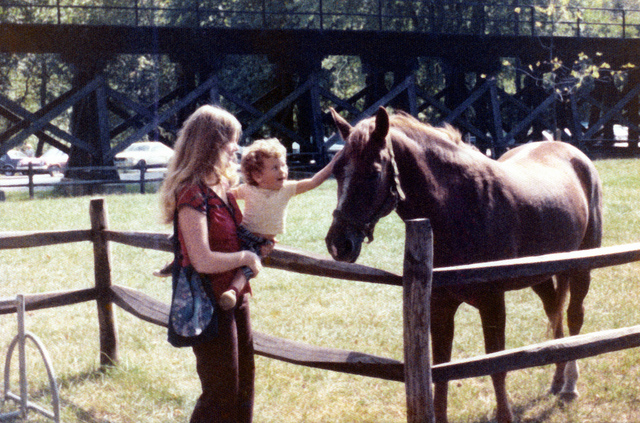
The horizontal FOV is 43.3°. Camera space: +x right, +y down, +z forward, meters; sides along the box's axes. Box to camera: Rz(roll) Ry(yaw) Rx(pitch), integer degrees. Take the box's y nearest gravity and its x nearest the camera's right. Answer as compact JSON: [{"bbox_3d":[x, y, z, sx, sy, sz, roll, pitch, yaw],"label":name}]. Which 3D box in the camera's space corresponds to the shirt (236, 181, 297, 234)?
[{"bbox_3d":[-1.046,0.110,14.926,0.616,1.289,0.828,3,-1,-10],"label":"shirt"}]

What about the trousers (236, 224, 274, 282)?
[{"bbox_3d":[-1.264,0.702,14.717,0.501,1.077,0.459,2,2,-12],"label":"trousers"}]
